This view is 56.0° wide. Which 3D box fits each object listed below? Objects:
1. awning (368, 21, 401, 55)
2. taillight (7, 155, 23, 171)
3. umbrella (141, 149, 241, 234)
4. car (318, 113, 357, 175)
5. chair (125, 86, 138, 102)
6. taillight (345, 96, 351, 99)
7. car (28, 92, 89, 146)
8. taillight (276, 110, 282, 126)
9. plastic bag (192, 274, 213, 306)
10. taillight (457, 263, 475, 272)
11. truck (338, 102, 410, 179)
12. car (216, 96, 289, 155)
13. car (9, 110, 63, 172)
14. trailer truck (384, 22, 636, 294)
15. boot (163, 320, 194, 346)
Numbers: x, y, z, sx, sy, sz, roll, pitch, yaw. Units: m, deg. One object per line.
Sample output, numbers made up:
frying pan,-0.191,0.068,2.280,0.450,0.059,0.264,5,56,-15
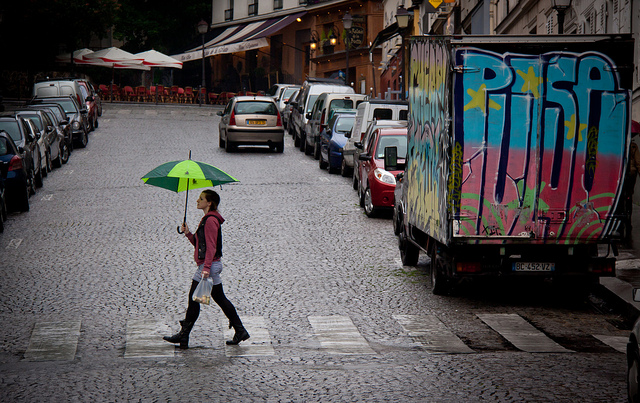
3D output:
awning,5.595,-14.304,52.298,1.299,0.807,7.020,21,-7,-6
taillight,-8.565,-1.101,16.900,0.236,0.388,0.412,1,8,2
umbrella,-1.901,0.004,8.669,1.081,1.023,1.140,1,-13,1
car,1.134,-2.532,25.319,1.955,2.371,4.883,0,6,-9
chair,-18.183,-10.450,57.564,1.317,1.819,1.347,-1,3,-29
taillight,1.281,-4.937,28.306,0.274,0.121,0.037,-5,8,-32
car,-12.973,-4.630,30.661,1.857,1.577,3.514,-6,30,-19
taillight,-1.911,-3.941,28.243,0.250,0.665,0.301,1,7,4
plastic bag,-1.531,1.127,7.931,0.277,0.396,0.317,-2,8,-21
taillight,2.392,1.073,9.798,0.199,0.053,0.147,2,10,-4
truck,2.462,-2.445,24.754,2.608,2.868,5.360,3,1,-2
car,-3.179,-3.652,28.501,2.993,2.692,1.740,-1,7,-9
car,-10.727,-2.545,22.918,1.312,1.345,2.552,0,10,-2
trailer truck,3.099,-1.022,10.926,2.884,3.896,7.530,0,11,-3
boot,-1.937,1.776,8.230,0.397,0.399,0.266,0,7,-8
